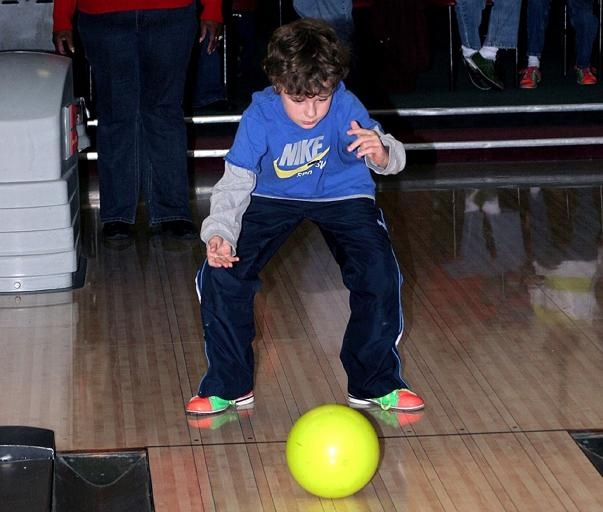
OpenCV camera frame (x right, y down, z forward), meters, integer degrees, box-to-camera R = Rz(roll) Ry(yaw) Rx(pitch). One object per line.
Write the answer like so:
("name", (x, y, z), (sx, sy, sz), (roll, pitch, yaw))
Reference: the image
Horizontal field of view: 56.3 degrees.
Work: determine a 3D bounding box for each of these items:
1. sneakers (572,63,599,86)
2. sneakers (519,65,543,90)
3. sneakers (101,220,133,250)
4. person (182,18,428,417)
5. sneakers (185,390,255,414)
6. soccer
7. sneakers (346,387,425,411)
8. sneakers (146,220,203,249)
("sneakers", (1.882, -1.208, 3.730), (0.110, 0.105, 0.283), (-2, 12, 2))
("sneakers", (1.468, -1.152, 3.612), (0.098, 0.102, 0.271), (-1, 10, 12))
("sneakers", (-0.816, -0.091, 2.496), (0.119, 0.138, 0.057), (-1, -5, -8))
("person", (-0.013, -0.105, 1.407), (0.589, 0.922, 0.396), (-3, 20, 0))
("sneakers", (-0.207, 0.359, 1.435), (0.159, 0.064, 0.056), (1, 0, -21))
("soccer", (0.057, 0.370, 1.074), (0.172, 0.142, 0.108), (-3, 19, -3))
("sneakers", (0.216, 0.355, 1.441), (0.193, 0.069, 0.062), (-3, -3, 15))
("sneakers", (-0.559, -0.096, 2.510), (0.268, 0.103, 0.115), (-2, 6, 12))
